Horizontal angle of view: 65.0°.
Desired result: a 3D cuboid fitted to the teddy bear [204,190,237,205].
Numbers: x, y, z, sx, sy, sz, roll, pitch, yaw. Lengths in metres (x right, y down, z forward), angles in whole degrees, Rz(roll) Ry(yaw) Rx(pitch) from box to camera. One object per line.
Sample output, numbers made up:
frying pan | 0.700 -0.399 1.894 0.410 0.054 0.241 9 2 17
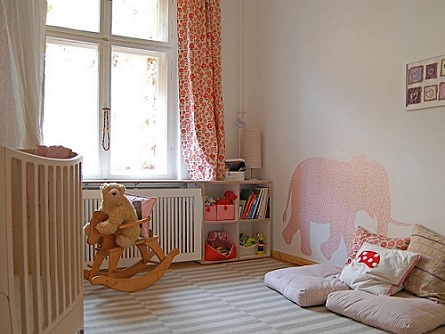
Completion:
teddy bear | -0.023 0.352 3.798 0.207 0.106 0.196 -1 4 -15

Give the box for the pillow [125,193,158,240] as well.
pillow | -0.674 0.433 3.019 0.134 0.337 0.304 4 -3 -43

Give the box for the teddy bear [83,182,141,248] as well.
teddy bear | -0.869 0.391 2.816 0.425 0.531 0.391 3 0 -41

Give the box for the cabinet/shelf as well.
cabinet/shelf | 0.069 0.624 3.747 0.762 0.779 0.299 0 -2 -27
